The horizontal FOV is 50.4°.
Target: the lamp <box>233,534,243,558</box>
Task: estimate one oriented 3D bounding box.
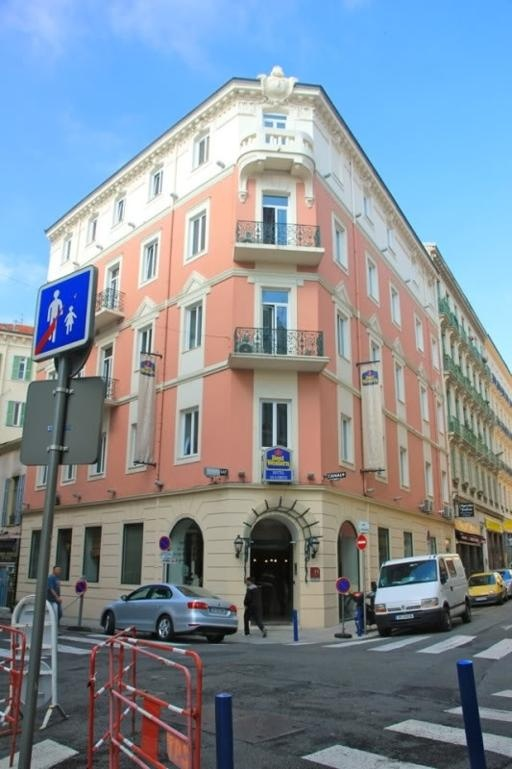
[{"bbox_3d":[-0.602,5.501,18.377,0.356,0.759,0.285,6,-20,-16],"label":"lamp"}]

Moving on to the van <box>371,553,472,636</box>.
[{"bbox_3d":[5.625,6.647,17.377,1.997,2.355,5.683,-15,-25,36],"label":"van"}]

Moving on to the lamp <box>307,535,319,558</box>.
[{"bbox_3d":[1.971,5.704,18.999,0.459,0.760,0.221,-2,-19,5],"label":"lamp"}]

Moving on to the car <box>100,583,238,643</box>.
[{"bbox_3d":[-2.565,6.277,15.082,4.436,1.389,1.639,-19,-27,41],"label":"car"}]

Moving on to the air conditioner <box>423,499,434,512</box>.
[{"bbox_3d":[9.680,6.833,30.686,0.503,0.957,1.016,-3,-9,32],"label":"air conditioner"}]

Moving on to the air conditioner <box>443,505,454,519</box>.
[{"bbox_3d":[12.258,8.180,34.774,0.500,0.998,0.988,-6,-14,36],"label":"air conditioner"}]

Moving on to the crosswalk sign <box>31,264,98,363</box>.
[{"bbox_3d":[-1.150,-0.424,3.194,0.049,0.482,0.492,22,27,16],"label":"crosswalk sign"}]
